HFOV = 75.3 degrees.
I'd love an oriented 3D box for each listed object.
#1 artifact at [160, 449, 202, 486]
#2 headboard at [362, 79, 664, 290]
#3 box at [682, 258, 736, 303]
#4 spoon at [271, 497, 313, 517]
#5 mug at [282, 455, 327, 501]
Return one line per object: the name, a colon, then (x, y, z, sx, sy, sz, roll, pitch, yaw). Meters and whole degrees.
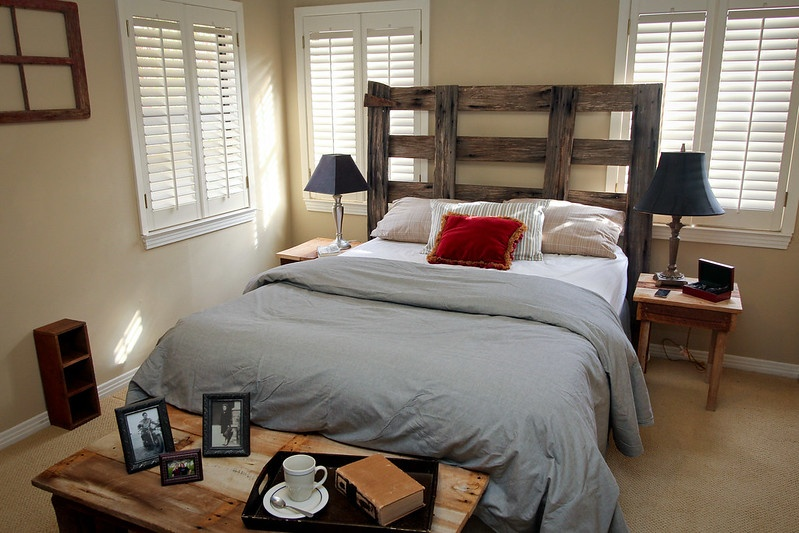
artifact: (-0.976, 0.910, 2.325, 0.142, 0.119, 0.050, -4, -4, -10)
headboard: (0.998, -0.665, 4.130, 1.866, 1.417, 0.203, 2, 8, 15)
box: (2.126, 0.083, 3.669, 0.299, 0.344, 0.358, -6, 14, -38)
spoon: (-0.444, 1.004, 2.153, 0.186, 0.052, 0.030, 6, 17, 13)
mug: (-0.409, 0.895, 2.260, 0.144, 0.163, 0.224, 2, 0, 32)
